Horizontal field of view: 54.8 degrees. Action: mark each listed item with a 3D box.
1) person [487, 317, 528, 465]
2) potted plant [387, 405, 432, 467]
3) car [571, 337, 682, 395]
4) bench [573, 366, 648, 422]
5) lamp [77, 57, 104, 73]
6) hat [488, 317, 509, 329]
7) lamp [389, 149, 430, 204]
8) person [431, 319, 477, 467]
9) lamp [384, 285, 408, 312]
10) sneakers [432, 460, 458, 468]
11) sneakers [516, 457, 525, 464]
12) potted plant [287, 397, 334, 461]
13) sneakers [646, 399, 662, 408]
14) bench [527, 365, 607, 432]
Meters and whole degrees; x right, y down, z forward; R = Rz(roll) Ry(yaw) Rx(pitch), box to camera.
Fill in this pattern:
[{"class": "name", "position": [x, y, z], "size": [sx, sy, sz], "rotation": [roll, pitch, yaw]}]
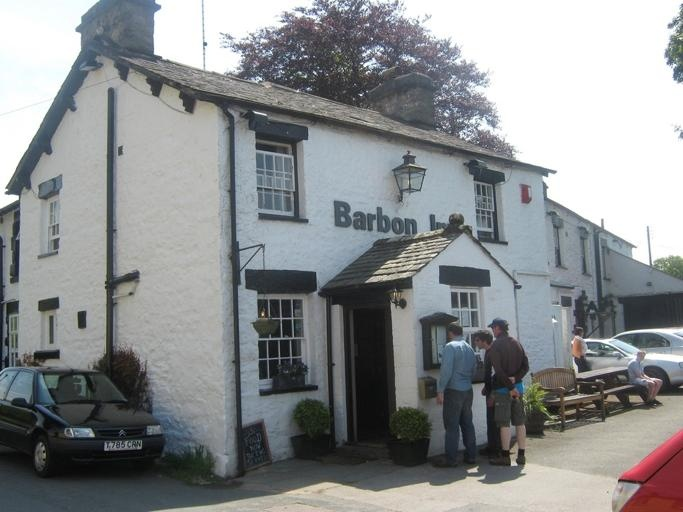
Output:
[{"class": "person", "position": [3.029, 2.465, 11.982], "size": [0.674, 2.572, 0.548], "rotation": [-1, -1, 13]}, {"class": "potted plant", "position": [1.204, 3.375, 12.374], "size": [0.971, 1.194, 0.897], "rotation": [10, -15, -43]}, {"class": "car", "position": [8.599, 3.242, 19.858], "size": [3.021, 1.027, 1.329], "rotation": [-6, -10, 26]}, {"class": "bench", "position": [7.298, 3.487, 17.508], "size": [0.689, 0.551, 2.154], "rotation": [-2, -21, -9]}, {"class": "lamp", "position": [-6.185, -4.679, 16.184], "size": [0.333, 0.238, 0.813], "rotation": [0, -2, -43]}, {"class": "hat", "position": [2.889, 1.267, 12.312], "size": [0.417, 0.230, 0.298], "rotation": [-3, -7, 26]}, {"class": "lamp", "position": [1.589, -1.919, 15.677], "size": [0.775, 1.240, 0.666], "rotation": [-1, -1, -23]}, {"class": "person", "position": [2.116, 2.560, 12.149], "size": [0.914, 2.533, 0.518], "rotation": [0, -1, -44]}, {"class": "lamp", "position": [1.051, 0.861, 12.957], "size": [0.420, 0.549, 0.305], "rotation": [11, -21, -28]}, {"class": "sneakers", "position": [1.869, 3.730, 11.895], "size": [0.441, 0.198, 0.162], "rotation": [4, -8, 9]}, {"class": "sneakers", "position": [3.207, 3.663, 11.773], "size": [0.156, 0.097, 0.149], "rotation": [-2, -1, 8]}, {"class": "potted plant", "position": [-0.495, 3.402, 13.162], "size": [0.953, 1.346, 1.064], "rotation": [3, -8, -30]}, {"class": "sneakers", "position": [8.067, 3.834, 17.032], "size": [0.372, 0.281, 0.140], "rotation": [-8, 5, -26]}, {"class": "bench", "position": [5.367, 3.329, 15.457], "size": [1.991, 1.307, 0.889], "rotation": [5, -10, -43]}]
